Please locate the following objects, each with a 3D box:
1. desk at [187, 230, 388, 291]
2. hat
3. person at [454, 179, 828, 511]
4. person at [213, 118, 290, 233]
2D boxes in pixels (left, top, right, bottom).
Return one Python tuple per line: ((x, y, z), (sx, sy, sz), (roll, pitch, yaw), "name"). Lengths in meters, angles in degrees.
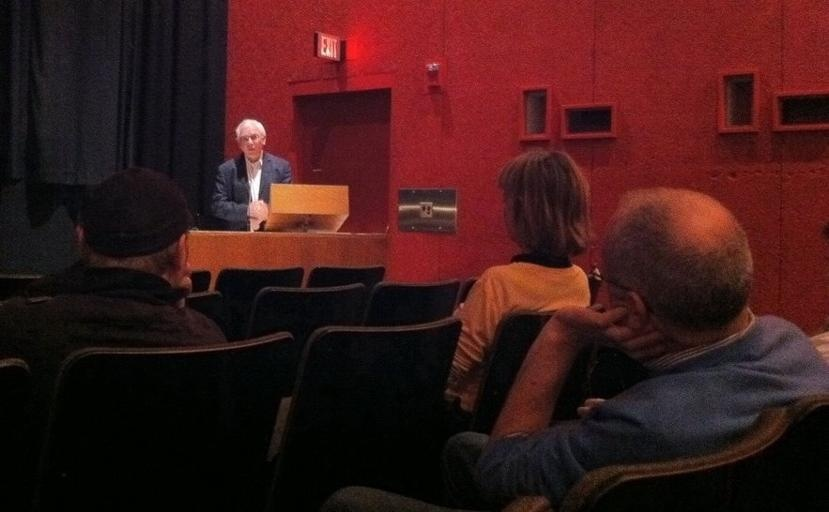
((-0.893, 0.187, 4.676), (1.351, 0.726, 0.398), (1, 4, -7), "desk")
((-0.802, -0.108, 1.925), (0.251, 0.161, 0.256), (14, 41, 8), "hat")
((0.556, 0.224, 1.516), (0.775, 0.754, 0.297), (4, 7, 19), "person")
((-1.486, -0.723, 5.951), (0.690, 1.034, 1.346), (-3, 9, -29), "person")
